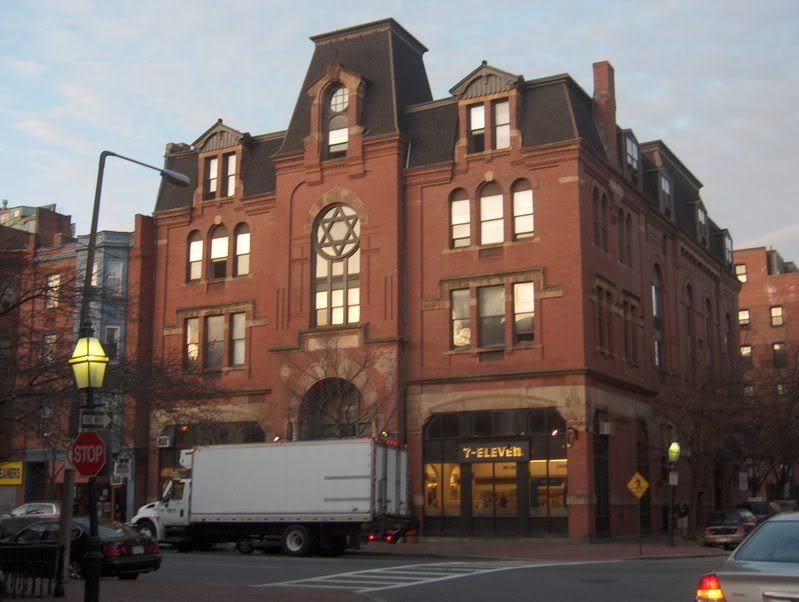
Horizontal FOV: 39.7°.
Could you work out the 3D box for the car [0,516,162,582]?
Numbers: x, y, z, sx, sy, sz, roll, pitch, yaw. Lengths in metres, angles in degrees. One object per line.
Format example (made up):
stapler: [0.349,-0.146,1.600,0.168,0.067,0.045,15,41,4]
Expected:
car: [-9.923,7.808,33.386,5.164,1.568,2.407,-1,-8,16]

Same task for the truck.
truck: [-3.982,7.843,44.410,13.679,4.869,4.247,-5,-16,25]

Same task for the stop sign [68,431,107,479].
stop sign: [-7.642,3.758,27.196,1.020,1.139,0.545,4,2,33]
